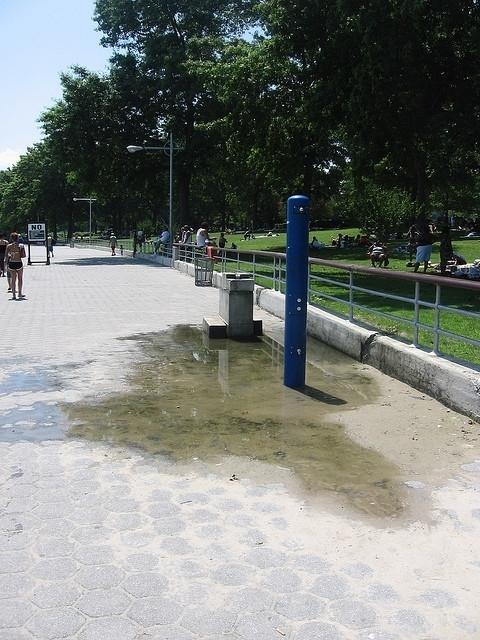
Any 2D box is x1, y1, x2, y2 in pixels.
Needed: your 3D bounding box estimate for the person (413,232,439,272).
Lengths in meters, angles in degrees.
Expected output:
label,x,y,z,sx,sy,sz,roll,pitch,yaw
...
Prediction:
label,x,y,z,sx,sy,sz,roll,pitch,yaw
person,5.951,-2.290,19.511,0.510,1.378,1.723,2,7,16
